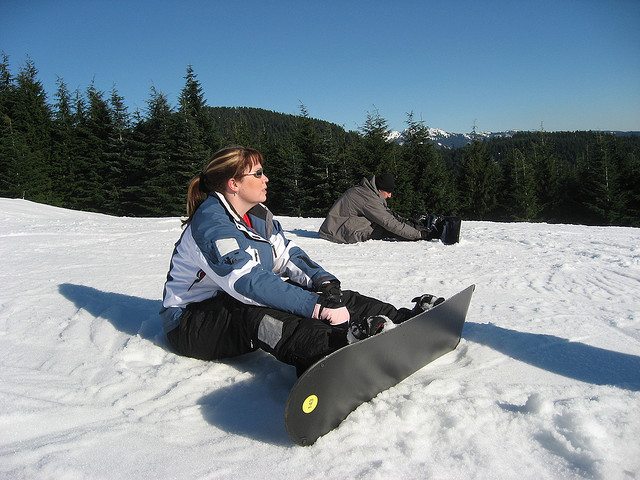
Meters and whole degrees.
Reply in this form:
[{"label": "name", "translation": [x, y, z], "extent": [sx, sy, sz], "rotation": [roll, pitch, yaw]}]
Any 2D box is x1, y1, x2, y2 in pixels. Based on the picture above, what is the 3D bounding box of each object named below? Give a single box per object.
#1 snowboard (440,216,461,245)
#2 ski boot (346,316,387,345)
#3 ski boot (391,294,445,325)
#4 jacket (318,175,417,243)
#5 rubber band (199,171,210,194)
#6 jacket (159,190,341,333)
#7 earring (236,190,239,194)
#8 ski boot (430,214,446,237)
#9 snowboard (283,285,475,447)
[{"label": "snowboard", "translation": [2.374, -0.164, 7.436], "extent": [0.123, 0.429, 0.451], "rotation": [5, 16, -25]}, {"label": "ski boot", "translation": [0.281, 0.549, 2.625], "extent": [0.191, 0.103, 0.153], "rotation": [-28, -15, 13]}, {"label": "ski boot", "translation": [0.716, 0.512, 3.117], "extent": [0.328, 0.138, 0.109], "rotation": [-23, 19, 17]}, {"label": "jacket", "translation": [0.838, -0.570, 8.126], "extent": [1.611, 1.086, 1.060], "rotation": [3, 11, 0]}, {"label": "rubber band", "translation": [-0.853, -0.426, 3.145], "extent": [0.086, 0.114, 0.047], "rotation": [0, -11, -27]}, {"label": "jacket", "translation": [-0.524, 0.198, 3.222], "extent": [1.503, 1.071, 1.103], "rotation": [2, 9, 23]}, {"label": "earring", "translation": [-0.615, -0.359, 3.135], "extent": [0.015, 0.021, 0.006], "rotation": [-2, 24, -4]}, {"label": "ski boot", "translation": [2.182, -0.254, 7.711], "extent": [0.180, 0.342, 0.218], "rotation": [8, 13, -17]}, {"label": "snowboard", "translation": [0.376, 0.563, 2.887], "extent": [1.841, 0.560, 0.268], "rotation": [-29, 35, -31]}]
